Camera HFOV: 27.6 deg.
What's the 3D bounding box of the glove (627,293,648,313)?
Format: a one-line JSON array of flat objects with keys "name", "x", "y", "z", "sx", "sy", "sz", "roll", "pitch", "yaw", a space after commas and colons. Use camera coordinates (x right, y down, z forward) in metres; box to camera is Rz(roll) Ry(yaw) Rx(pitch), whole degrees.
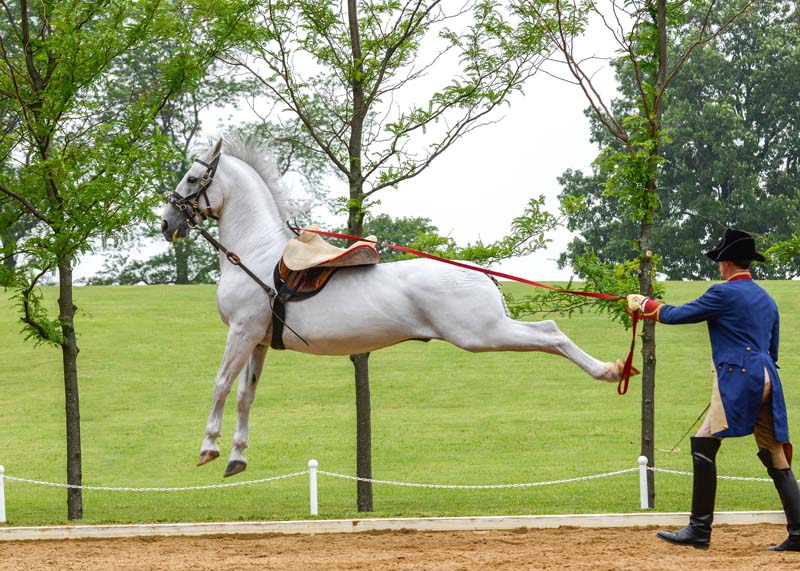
[{"name": "glove", "x": 5.211, "y": 0.364, "z": 36.150, "sx": 0.452, "sy": 0.379, "sz": 0.407, "roll": -3, "pitch": 33, "yaw": -4}]
